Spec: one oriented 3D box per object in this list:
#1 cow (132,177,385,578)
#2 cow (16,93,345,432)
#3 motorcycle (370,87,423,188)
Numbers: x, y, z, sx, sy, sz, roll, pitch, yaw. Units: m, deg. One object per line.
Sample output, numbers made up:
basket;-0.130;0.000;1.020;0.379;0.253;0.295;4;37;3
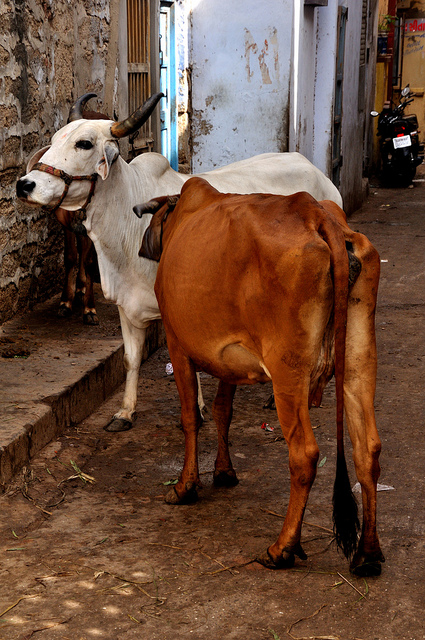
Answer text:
cow;0.057;0.125;2.679;0.567;1.161;1.570;-2;8;-25
cow;-0.152;-0.326;4.283;0.784;1.862;2.603;15;19;39
motorcycle;3.967;-3.680;14.475;0.901;1.784;1.155;1;8;13
